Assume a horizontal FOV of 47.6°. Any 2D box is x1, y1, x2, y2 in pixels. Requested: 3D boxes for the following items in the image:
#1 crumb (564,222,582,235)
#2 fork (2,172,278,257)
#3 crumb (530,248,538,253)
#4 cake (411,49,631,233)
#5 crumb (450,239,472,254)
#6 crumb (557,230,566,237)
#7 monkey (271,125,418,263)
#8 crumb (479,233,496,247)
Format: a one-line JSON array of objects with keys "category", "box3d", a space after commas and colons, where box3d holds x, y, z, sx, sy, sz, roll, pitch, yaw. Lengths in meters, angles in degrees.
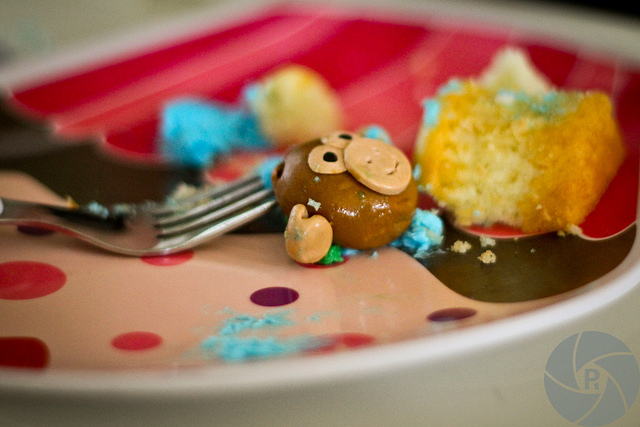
[{"category": "crumb", "box3d": [0.364, 0.021, 1.038, 0.023, 0.006, 0.017, 36, 56, 28]}, {"category": "fork", "box3d": [-0.274, 0.005, 1.078, 0.416, 0.069, 0.055, -6, 48, -17]}, {"category": "crumb", "box3d": [0.303, 0.052, 1.027, 0.009, 0.003, 0.009, 12, 48, 9]}, {"category": "cake", "box3d": [0.325, -0.161, 1.215, 0.372, 0.229, 0.347, -1, 29, -11]}, {"category": "crumb", "box3d": [0.201, 0.045, 1.054, 0.020, 0.007, 0.020, 25, 50, 37]}, {"category": "crumb", "box3d": [0.347, 0.027, 1.040, 0.007, 0.003, 0.008, 0, 41, 11]}, {"category": "monkey", "box3d": [0.018, -0.017, 1.080, 0.189, 0.117, 0.187, -8, 57, -15]}, {"category": "crumb", "box3d": [0.246, 0.038, 1.061, 0.022, 0.007, 0.031, 2, 47, 0]}]
